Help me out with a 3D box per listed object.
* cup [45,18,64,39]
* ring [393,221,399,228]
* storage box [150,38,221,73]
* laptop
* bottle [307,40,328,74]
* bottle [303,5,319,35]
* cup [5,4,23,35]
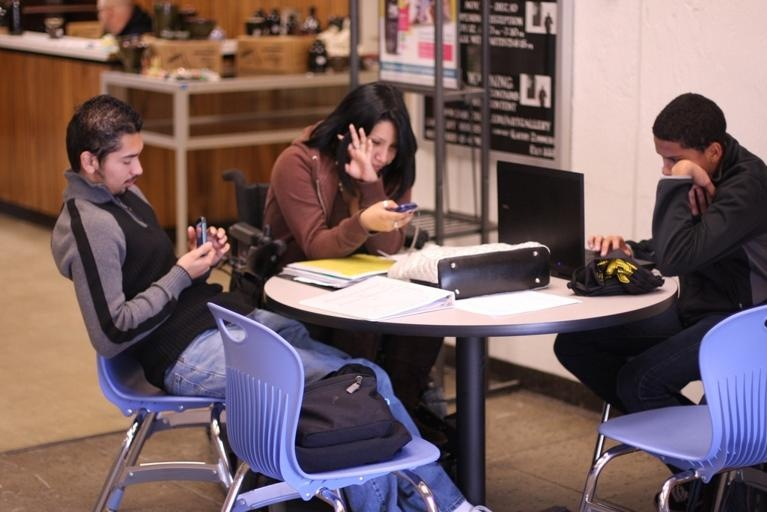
[{"bbox_3d":[-3.102,-2.157,6.522,0.153,0.228,0.316,-6,12,-28],"label":"cup"},{"bbox_3d":[0.047,-0.121,2.692,0.018,0.036,0.019,0,23,0],"label":"ring"},{"bbox_3d":[-1.455,-1.452,5.009,0.609,0.263,0.193,6,12,29],"label":"storage box"},{"bbox_3d":[0.795,-0.211,2.880,0.413,0.535,0.534,-18,19,-39],"label":"laptop"},{"bbox_3d":[-0.497,-1.475,5.150,0.119,0.223,0.162,2,9,-24],"label":"bottle"},{"bbox_3d":[-0.553,-1.812,5.313,0.135,0.232,0.274,0,11,-2],"label":"bottle"},{"bbox_3d":[-3.618,-2.327,6.766,0.108,0.311,0.171,-7,13,-34],"label":"cup"}]
